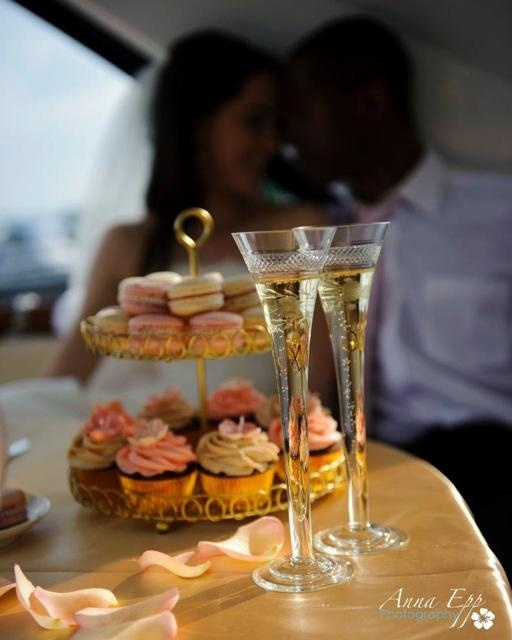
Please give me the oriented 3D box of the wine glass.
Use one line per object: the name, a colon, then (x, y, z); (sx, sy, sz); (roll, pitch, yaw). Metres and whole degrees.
wine glass: (0.020, 0.072, 0.534); (0.085, 0.287, 0.103); (-9, 9, -30)
